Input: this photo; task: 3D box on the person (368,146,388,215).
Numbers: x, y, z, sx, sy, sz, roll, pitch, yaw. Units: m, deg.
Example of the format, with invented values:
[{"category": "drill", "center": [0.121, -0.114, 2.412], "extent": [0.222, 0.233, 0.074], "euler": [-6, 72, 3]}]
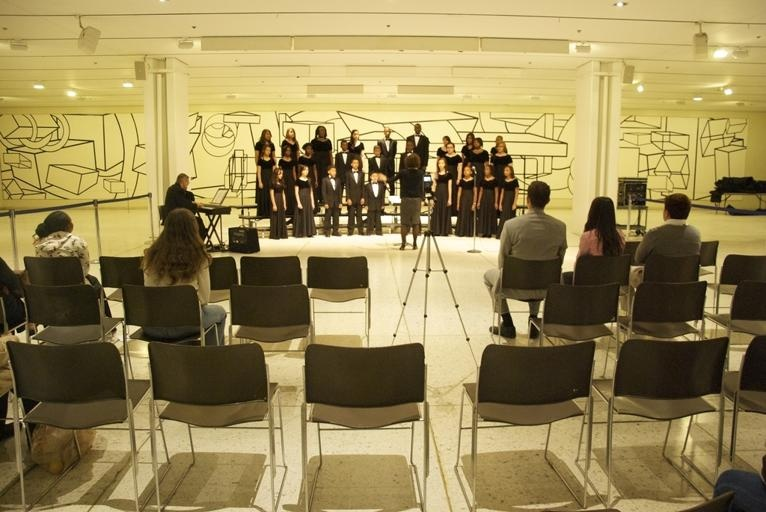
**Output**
[{"category": "person", "center": [-0.099, -1.925, 14.349], "extent": [0.447, 1.133, 0.302], "euler": [-4, 13, -6]}]

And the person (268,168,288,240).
[{"category": "person", "center": [-2.242, -1.124, 13.522], "extent": [0.309, 1.544, 0.407], "euler": [-4, 11, -17]}]

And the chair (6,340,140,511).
[{"category": "chair", "center": [-2.396, 1.279, 4.930], "extent": [1.039, 1.297, 0.546], "euler": [-1, 11, -4]}]

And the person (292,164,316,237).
[{"category": "person", "center": [-1.645, -1.212, 13.965], "extent": [0.361, 1.562, 0.655], "euler": [9, 14, 42]}]

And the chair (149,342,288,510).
[{"category": "chair", "center": [-1.321, 1.271, 5.060], "extent": [1.051, 1.303, 0.938], "euler": [-2, 10, -6]}]

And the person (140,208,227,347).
[{"category": "person", "center": [-1.905, 0.244, 6.035], "extent": [0.763, 1.381, 0.472], "euler": [-4, 11, -17]}]

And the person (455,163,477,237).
[{"category": "person", "center": [1.841, -1.204, 13.956], "extent": [0.435, 1.576, 0.439], "euler": [0, 11, 6]}]

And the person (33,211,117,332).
[{"category": "person", "center": [-3.569, 0.088, 7.148], "extent": [0.887, 1.199, 0.600], "euler": [2, 11, 14]}]

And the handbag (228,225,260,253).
[{"category": "handbag", "center": [-2.592, -0.304, 11.772], "extent": [0.694, 0.494, 0.198], "euler": [5, 12, 28]}]

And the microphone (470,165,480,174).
[{"category": "microphone", "center": [2.053, -1.913, 14.014], "extent": [0.118, 0.153, 0.268], "euler": [-2, -1, 35]}]

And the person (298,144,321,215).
[{"category": "person", "center": [-1.709, -1.784, 14.452], "extent": [0.534, 1.551, 0.516], "euler": [-2, 17, -21]}]
